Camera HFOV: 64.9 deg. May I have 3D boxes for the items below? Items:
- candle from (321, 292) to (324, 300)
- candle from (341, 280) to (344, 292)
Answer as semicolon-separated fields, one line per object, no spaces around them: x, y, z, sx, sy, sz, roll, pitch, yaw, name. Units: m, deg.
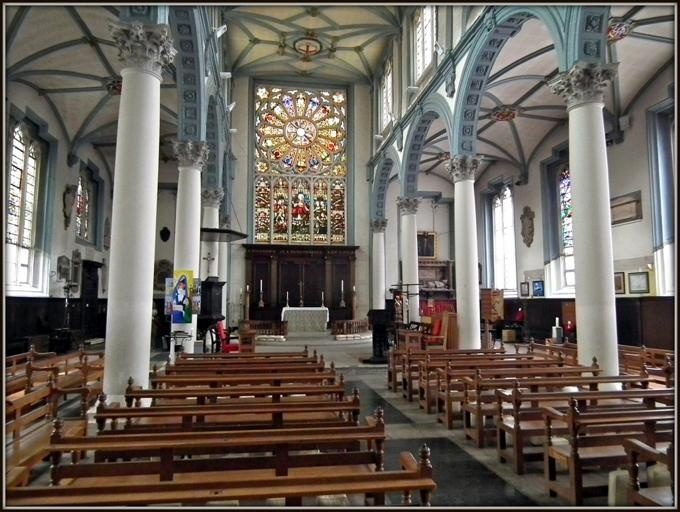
-0.797;1.886;25.231;0.159;0.446;0.263;1;-6;-3;candle
0.129;1.418;25.520;0.154;0.543;0.059;4;-7;-32;candle
